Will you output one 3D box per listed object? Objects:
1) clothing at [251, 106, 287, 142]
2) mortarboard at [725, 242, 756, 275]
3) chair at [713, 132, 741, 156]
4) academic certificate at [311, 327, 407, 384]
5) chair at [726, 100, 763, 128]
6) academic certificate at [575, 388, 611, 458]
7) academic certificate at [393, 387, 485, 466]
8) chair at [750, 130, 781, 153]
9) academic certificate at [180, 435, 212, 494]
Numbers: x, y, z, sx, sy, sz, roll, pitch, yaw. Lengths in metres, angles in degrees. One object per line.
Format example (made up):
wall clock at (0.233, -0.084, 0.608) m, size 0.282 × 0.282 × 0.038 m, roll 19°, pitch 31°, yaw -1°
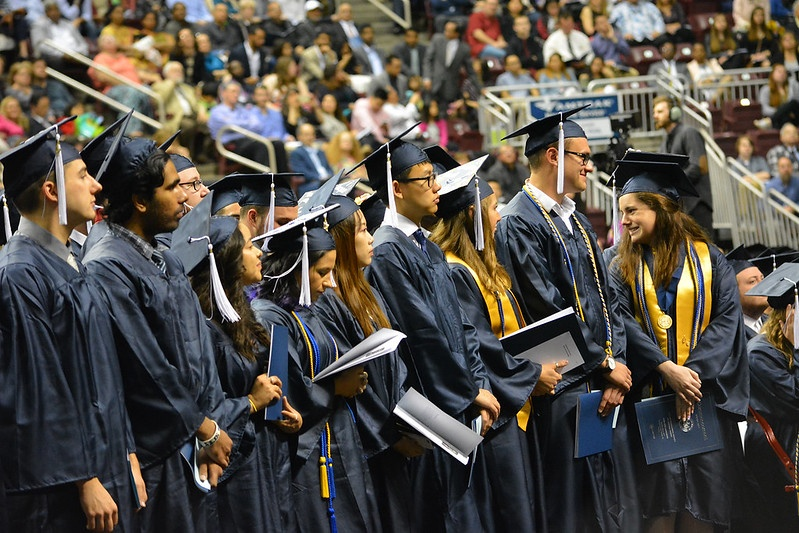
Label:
clothing at (-1.964, -2.175, 18.875) m, size 0.476 × 0.607 × 0.246 m, roll -22°, pitch -9°, yaw -47°
mortarboard at (3.283, -0.073, 12.095) m, size 0.313 × 0.242 × 0.342 m, roll -34°, pitch -19°, yaw 32°
chair at (5.502, -2.062, 21.018) m, size 0.472 × 0.419 × 0.462 m, roll -1°, pitch 2°, yaw 22°
academic certificate at (-0.332, 0.677, 9.838) m, size 0.756 × 0.402 × 0.235 m, roll -7°, pitch -18°, yaw 11°
chair at (5.970, -2.646, 21.769) m, size 0.504 × 0.403 × 0.285 m, roll 1°, pitch -25°, yaw -7°
academic certificate at (1.588, 1.325, 10.659) m, size 0.077 × 0.542 × 0.517 m, roll 1°, pitch 0°, yaw 32°
academic certificate at (0.296, 1.270, 9.965) m, size 0.680 × 0.598 × 0.077 m, roll 0°, pitch -19°, yaw -14°
chair at (5.947, -2.027, 20.382) m, size 0.480 × 0.429 × 0.253 m, roll 2°, pitch -17°, yaw -14°
academic certificate at (-1.511, 1.508, 9.451) m, size 0.089 × 0.343 × 0.265 m, roll -27°, pitch -3°, yaw 18°
